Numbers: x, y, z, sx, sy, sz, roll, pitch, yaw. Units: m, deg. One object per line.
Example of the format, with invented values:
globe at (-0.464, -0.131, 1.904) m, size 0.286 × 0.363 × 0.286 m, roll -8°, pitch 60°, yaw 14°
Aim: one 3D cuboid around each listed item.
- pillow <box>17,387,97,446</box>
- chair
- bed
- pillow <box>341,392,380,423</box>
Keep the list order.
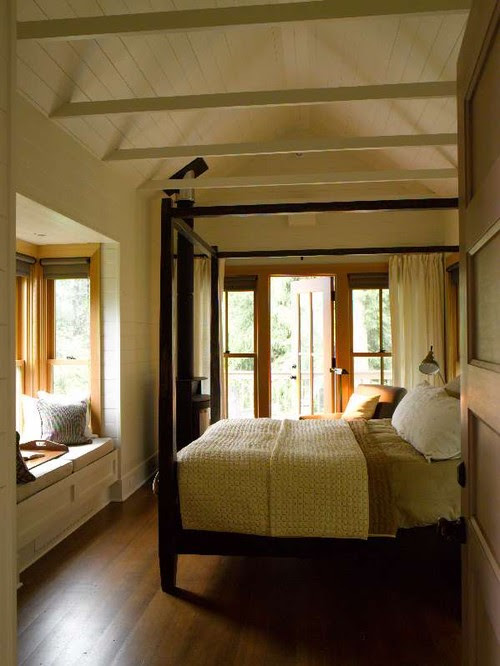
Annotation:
pillow at (-1.492, 0.548, 3.936) m, size 0.563 × 0.333 × 0.589 m, roll 5°, pitch 43°, yaw -20°
chair at (1.003, 0.571, 4.220) m, size 0.491 × 0.428 × 0.481 m, roll 7°, pitch -13°, yaw -26°
bed at (0.317, 0.776, 3.142) m, size 1.428 × 0.417 × 1.573 m, roll -2°, pitch -3°, yaw 13°
pillow at (0.925, 0.658, 4.229) m, size 0.150 × 0.319 × 0.418 m, roll 20°, pitch -13°, yaw -11°
